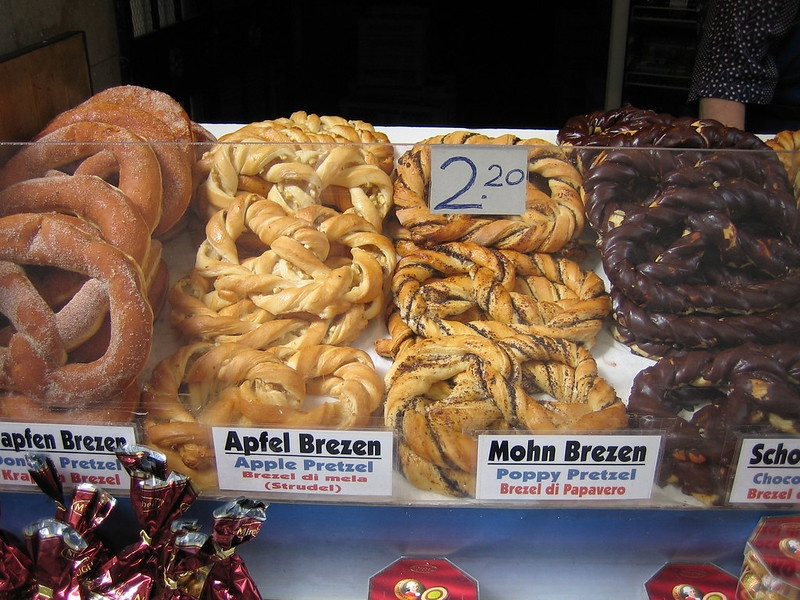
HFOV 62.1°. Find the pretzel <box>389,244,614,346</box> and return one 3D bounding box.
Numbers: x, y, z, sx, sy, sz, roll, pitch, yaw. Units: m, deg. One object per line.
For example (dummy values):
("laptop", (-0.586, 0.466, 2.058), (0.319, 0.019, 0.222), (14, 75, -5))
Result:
("pretzel", (0.179, -0.021, 1.132), (0.324, 0.094, 0.175), (4, 10, 1))

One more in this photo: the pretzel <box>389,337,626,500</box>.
("pretzel", (0.159, 0.178, 1.132), (0.295, 0.087, 0.284), (11, 27, 16))

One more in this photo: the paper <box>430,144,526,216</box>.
("paper", (0.129, -0.203, 1.097), (0.126, 0.078, 0.016), (1, 10, -1))
